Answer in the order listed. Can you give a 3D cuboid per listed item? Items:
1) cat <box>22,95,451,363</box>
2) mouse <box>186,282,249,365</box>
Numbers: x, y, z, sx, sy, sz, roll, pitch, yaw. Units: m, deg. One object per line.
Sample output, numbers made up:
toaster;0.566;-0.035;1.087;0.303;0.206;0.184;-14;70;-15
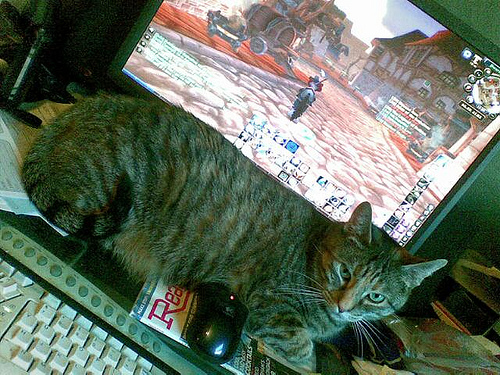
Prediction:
cat;-0.070;0.140;1.382;1.194;0.509;0.658;35;6;-10
mouse;-0.081;0.363;1.088;0.163;0.207;0.053;24;15;10
